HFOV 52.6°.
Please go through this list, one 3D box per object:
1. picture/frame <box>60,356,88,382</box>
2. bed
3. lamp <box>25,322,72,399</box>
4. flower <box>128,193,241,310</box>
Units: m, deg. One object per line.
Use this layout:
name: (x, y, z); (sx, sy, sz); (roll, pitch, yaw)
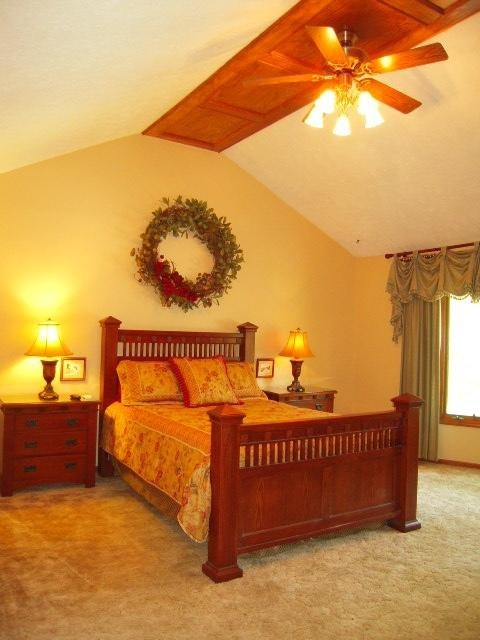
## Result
picture/frame: (-1.445, 0.425, 4.195); (0.256, 0.250, 0.019); (3, -6, -35)
bed: (-0.002, 0.619, 3.593); (1.531, 1.313, 2.059); (0, -1, -28)
lamp: (-1.541, 0.317, 3.906); (0.323, 0.624, 0.450); (4, -5, -22)
flower: (-0.501, -0.627, 4.725); (1.018, 1.071, 0.263); (-2, -4, -32)
